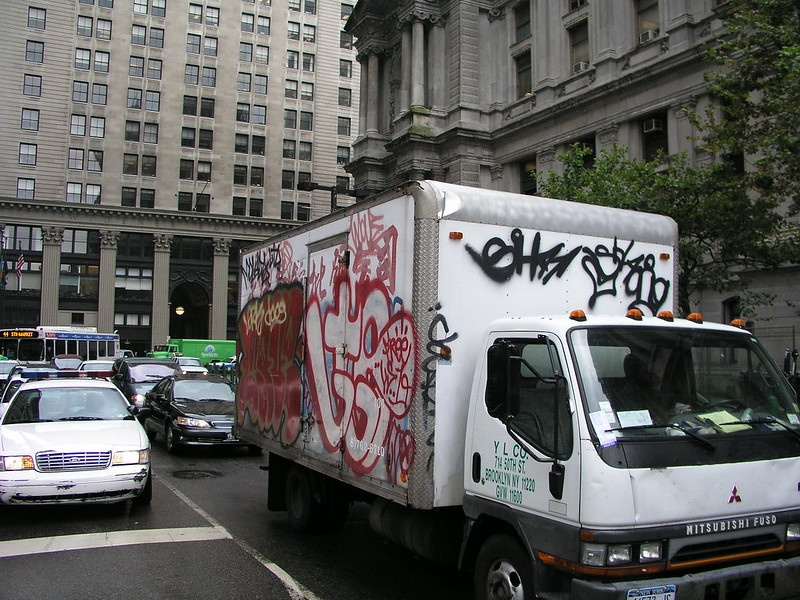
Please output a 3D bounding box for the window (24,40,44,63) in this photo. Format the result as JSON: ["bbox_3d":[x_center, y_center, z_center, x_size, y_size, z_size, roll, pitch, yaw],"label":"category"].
[{"bbox_3d":[-25.931,-17.518,57.740,1.513,2.396,0.079,0,-1,-27],"label":"window"}]

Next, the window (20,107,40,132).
[{"bbox_3d":[-26.035,-12.597,57.309,1.481,2.097,0.124,1,0,-21],"label":"window"}]

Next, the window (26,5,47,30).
[{"bbox_3d":[-25.819,-19.934,57.835,1.586,2.473,0.111,0,4,-26],"label":"window"}]

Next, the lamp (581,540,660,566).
[{"bbox_3d":[2.073,2.380,7.611,0.514,0.239,0.137,-1,5,-6],"label":"lamp"}]

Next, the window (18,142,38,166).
[{"bbox_3d":[-25.980,-10.061,56.904,1.455,2.307,0.081,1,-6,-25],"label":"window"}]

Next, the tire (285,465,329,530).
[{"bbox_3d":[-1.274,2.776,11.409,0.313,1.115,1.001,1,-5,-27],"label":"tire"}]

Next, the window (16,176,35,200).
[{"bbox_3d":[-25.937,-7.664,56.447,1.480,2.478,0.150,-2,-2,-8],"label":"window"}]

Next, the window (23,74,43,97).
[{"bbox_3d":[-25.952,-15.055,57.536,1.433,2.258,0.081,1,-4,-29],"label":"window"}]
